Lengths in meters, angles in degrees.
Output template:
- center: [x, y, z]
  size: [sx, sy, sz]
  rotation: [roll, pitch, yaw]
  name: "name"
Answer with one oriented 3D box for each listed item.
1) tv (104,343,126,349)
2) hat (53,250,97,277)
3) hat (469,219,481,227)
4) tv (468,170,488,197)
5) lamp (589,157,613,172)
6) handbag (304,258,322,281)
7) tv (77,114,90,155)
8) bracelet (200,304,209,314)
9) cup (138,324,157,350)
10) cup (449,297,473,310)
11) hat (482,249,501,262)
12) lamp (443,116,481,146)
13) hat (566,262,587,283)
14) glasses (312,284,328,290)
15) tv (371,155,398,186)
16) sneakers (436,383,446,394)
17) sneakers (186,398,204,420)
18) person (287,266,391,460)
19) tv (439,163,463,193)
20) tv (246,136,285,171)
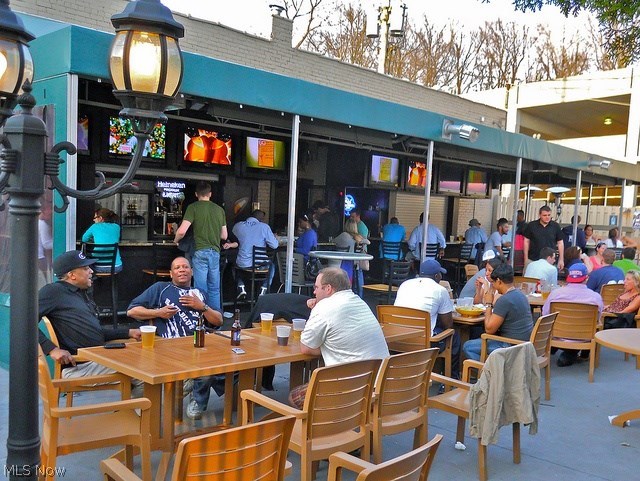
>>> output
- center: [-1.536, 0.784, 4.528]
  size: [0.151, 0.034, 0.079]
  rotation: [2, 2, -21]
  name: "tv"
- center: [-2.100, 0.205, 5.161]
  size: [0.279, 0.157, 0.197]
  rotation: [-28, 17, -20]
  name: "hat"
- center: [3.475, -0.400, 13.613]
  size: [0.236, 0.179, 0.334]
  rotation: [7, 14, 32]
  name: "hat"
- center: [3.817, -1.402, 14.693]
  size: [0.504, 0.743, 0.071]
  rotation: [-18, 25, -42]
  name: "tv"
- center: [6.314, -1.735, 13.544]
  size: [0.418, 0.274, 0.748]
  rotation: [5, 3, 40]
  name: "lamp"
- center: [-0.121, 0.440, 9.504]
  size: [0.294, 0.314, 0.298]
  rotation: [3, 9, 3]
  name: "handbag"
- center: [-3.295, -1.493, 8.414]
  size: [0.128, 0.509, 0.277]
  rotation: [2, 3, -17]
  name: "tv"
- center: [-1.005, 0.589, 5.269]
  size: [0.062, 0.047, 0.064]
  rotation: [-3, 9, -16]
  name: "bracelet"
- center: [-1.315, 0.732, 4.634]
  size: [0.143, 0.158, 0.148]
  rotation: [5, 1, 0]
  name: "cup"
- center: [1.593, 0.693, 6.772]
  size: [0.177, 0.146, 0.152]
  rotation: [-1, -1, 24]
  name: "cup"
- center: [2.422, 0.205, 8.645]
  size: [0.157, 0.142, 0.263]
  rotation: [-7, -4, 34]
  name: "hat"
- center: [2.195, -1.707, 9.386]
  size: [0.455, 0.315, 0.335]
  rotation: [14, 17, 39]
  name: "lamp"
- center: [3.074, 0.366, 7.194]
  size: [0.166, 0.143, 0.270]
  rotation: [3, 24, 35]
  name: "hat"
- center: [0.017, 0.366, 4.756]
  size: [0.086, 0.029, 0.083]
  rotation: [5, -3, -23]
  name: "glasses"
- center: [1.270, -1.410, 12.135]
  size: [0.620, 0.471, 0.084]
  rotation: [-1, 3, -41]
  name: "tv"
- center: [1.243, 1.523, 6.282]
  size: [0.071, 0.121, 0.122]
  rotation: [1, -1, -4]
  name: "sneakers"
- center: [-1.088, 1.476, 5.314]
  size: [0.134, 0.153, 0.168]
  rotation: [3, -7, 17]
  name: "sneakers"
- center: [0.155, 0.761, 4.609]
  size: [0.766, 1.075, 0.504]
  rotation: [4, 3, 24]
  name: "person"
- center: [3.008, -1.471, 14.033]
  size: [0.632, 0.589, 0.331]
  rotation: [-2, 4, -39]
  name: "tv"
- center: [-0.967, -1.485, 10.252]
  size: [0.059, 0.407, 0.636]
  rotation: [3, 2, 41]
  name: "tv"
